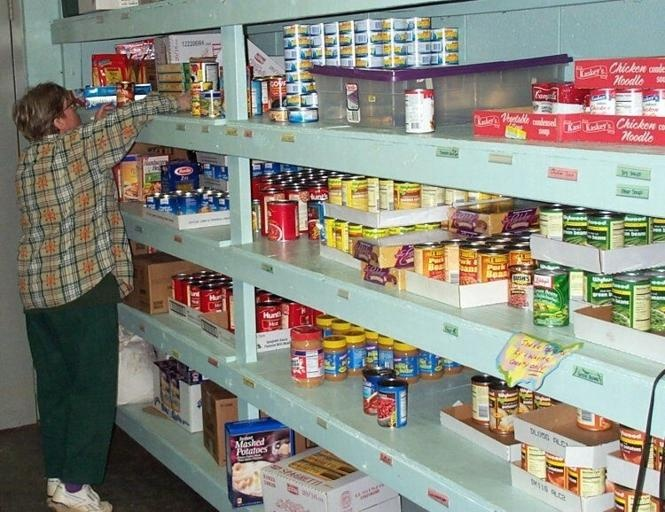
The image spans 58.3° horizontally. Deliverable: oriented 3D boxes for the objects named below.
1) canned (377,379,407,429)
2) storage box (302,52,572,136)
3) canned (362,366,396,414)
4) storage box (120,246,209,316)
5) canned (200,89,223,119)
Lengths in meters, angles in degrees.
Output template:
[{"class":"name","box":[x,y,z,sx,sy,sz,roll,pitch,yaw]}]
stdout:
[{"class":"canned","box":[0.206,0.505,2.075,0.152,0.150,0.145,0,7,3]},{"class":"storage box","box":[0.392,-0.582,2.044,0.636,0.168,0.442,-14,22,-31]},{"class":"canned","box":[0.158,0.491,2.227,0.157,0.150,0.149,1,6,8]},{"class":"storage box","box":[-0.993,0.146,3.586,0.377,0.209,0.365,17,21,39]},{"class":"canned","box":[-0.548,-0.687,2.711,0.134,0.125,0.131,-6,13,-30]}]
